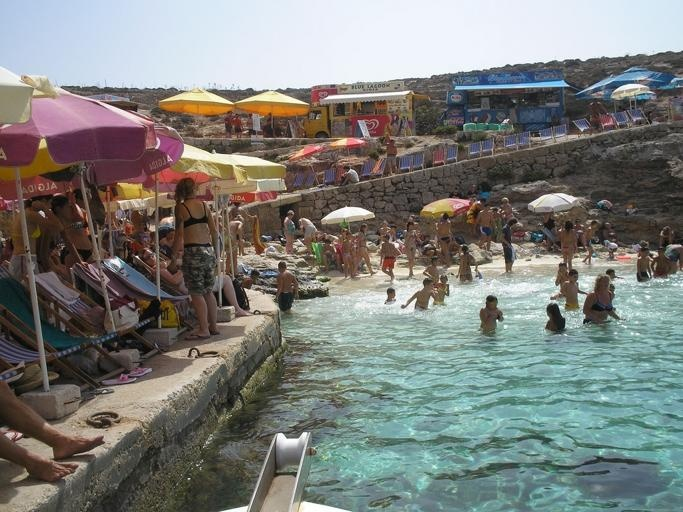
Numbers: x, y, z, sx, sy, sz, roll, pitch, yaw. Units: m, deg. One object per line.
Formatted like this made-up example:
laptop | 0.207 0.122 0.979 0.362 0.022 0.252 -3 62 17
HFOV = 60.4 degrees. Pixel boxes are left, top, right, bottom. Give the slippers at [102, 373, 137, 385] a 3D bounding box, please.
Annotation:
slippers | -2.288 1.253 6.060 0.207 0.065 0.108 0 1 -1

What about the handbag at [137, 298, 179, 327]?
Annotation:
handbag | -2.336 0.753 7.778 0.432 0.141 0.412 7 9 12

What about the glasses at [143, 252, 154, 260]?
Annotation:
glasses | -2.930 -0.025 8.963 0.088 0.075 0.087 -2 -2 30

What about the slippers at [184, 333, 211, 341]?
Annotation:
slippers | -1.902 1.048 7.714 0.310 0.072 0.112 3 -3 -12

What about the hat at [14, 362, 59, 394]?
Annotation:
hat | -2.816 1.093 5.288 0.223 0.224 0.279 7 14 41

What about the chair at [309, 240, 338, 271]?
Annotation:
chair | -0.551 -0.073 18.916 0.780 0.876 0.461 -3 -3 -9

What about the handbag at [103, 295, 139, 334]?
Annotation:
handbag | -2.473 0.621 6.688 0.268 0.338 0.456 -14 13 -12
